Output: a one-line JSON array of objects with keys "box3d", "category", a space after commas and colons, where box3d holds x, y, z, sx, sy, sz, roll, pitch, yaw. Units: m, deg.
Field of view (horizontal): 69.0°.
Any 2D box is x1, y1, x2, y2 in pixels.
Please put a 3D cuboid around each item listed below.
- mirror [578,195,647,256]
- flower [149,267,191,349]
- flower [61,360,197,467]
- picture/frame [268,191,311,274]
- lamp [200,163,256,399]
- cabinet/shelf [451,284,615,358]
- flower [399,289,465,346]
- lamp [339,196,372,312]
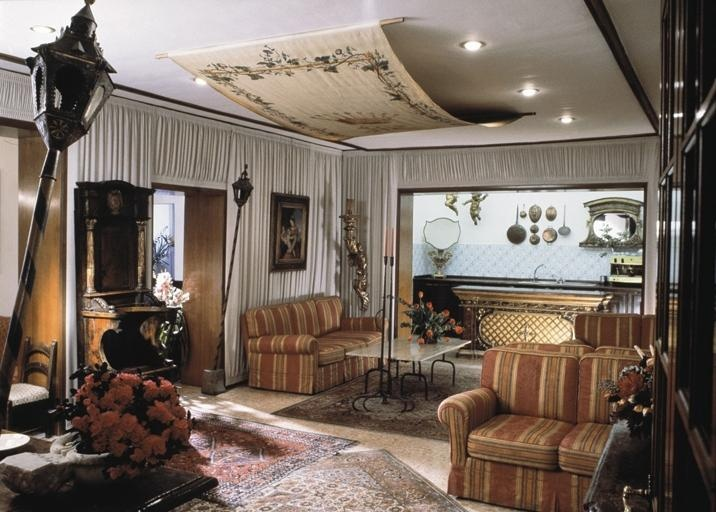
[{"box3d": [4.875, -0.552, 9.869, 1.204, 1.033, 0.137, 0, -1, 21], "category": "mirror"}, {"box3d": [-2.325, 0.579, 6.364, 0.461, 0.822, 0.500, -14, -13, 16], "category": "flower"}, {"box3d": [-1.039, 0.707, 2.501, 0.373, 0.300, 0.437, 11, -8, -17], "category": "flower"}, {"box3d": [-1.012, -0.327, 7.706, 0.055, 1.131, 0.840, 2, 2, 31], "category": "picture/frame"}, {"box3d": [-1.683, 0.273, 6.622, 0.605, 2.872, 0.534, 0, 2, -17], "category": "lamp"}, {"box3d": [2.709, 1.095, 8.538, 2.316, 1.063, 0.674, 2, 2, 8], "category": "cabinet/shelf"}, {"box3d": [0.889, 0.868, 7.071, 0.922, 0.699, 1.027, -3, 4, -30], "category": "flower"}, {"box3d": [-0.047, -0.001, 8.475, 0.497, 1.883, 0.730, 0, 2, -2], "category": "lamp"}]
